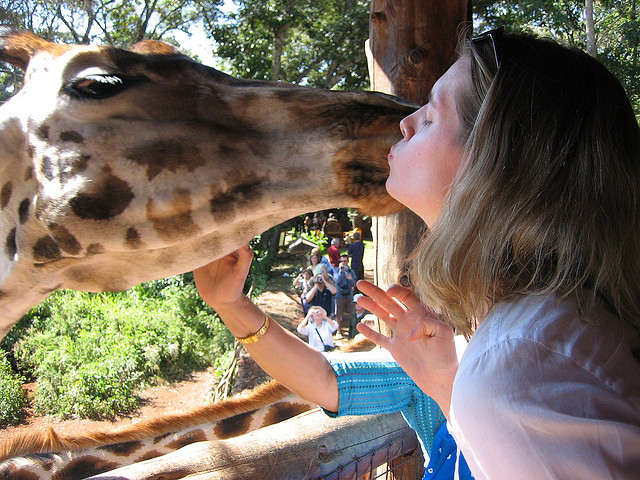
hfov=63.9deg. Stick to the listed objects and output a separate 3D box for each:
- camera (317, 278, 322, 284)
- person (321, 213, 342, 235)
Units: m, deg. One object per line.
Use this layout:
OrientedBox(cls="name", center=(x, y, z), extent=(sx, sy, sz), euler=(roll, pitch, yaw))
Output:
OrientedBox(cls="camera", center=(-0.018, 0.736, 9.189), extent=(0.082, 0.071, 0.087), euler=(10, 3, -5))
OrientedBox(cls="person", center=(0.397, -0.541, 17.593), extent=(0.652, 0.625, 0.700), euler=(0, -8, 2))
